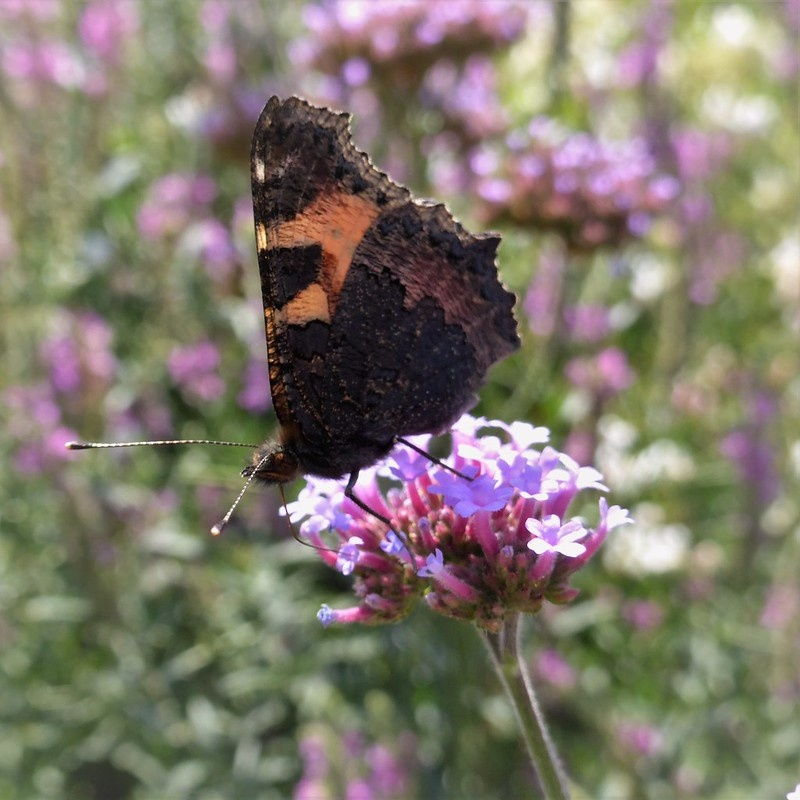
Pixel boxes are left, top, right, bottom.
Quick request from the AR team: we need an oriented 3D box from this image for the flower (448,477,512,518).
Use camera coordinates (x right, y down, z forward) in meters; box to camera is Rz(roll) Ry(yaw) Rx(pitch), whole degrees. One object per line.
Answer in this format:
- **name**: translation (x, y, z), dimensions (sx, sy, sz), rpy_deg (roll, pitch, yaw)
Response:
- **flower**: translation (0.262, 0.314, 3.514), dimensions (0.221, 0.237, 0.121), rpy_deg (-8, 83, -2)

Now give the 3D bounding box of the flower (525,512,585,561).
- **flower**: translation (0.518, 0.452, 3.527), dimensions (0.218, 0.358, 0.137), rpy_deg (7, 83, -1)
